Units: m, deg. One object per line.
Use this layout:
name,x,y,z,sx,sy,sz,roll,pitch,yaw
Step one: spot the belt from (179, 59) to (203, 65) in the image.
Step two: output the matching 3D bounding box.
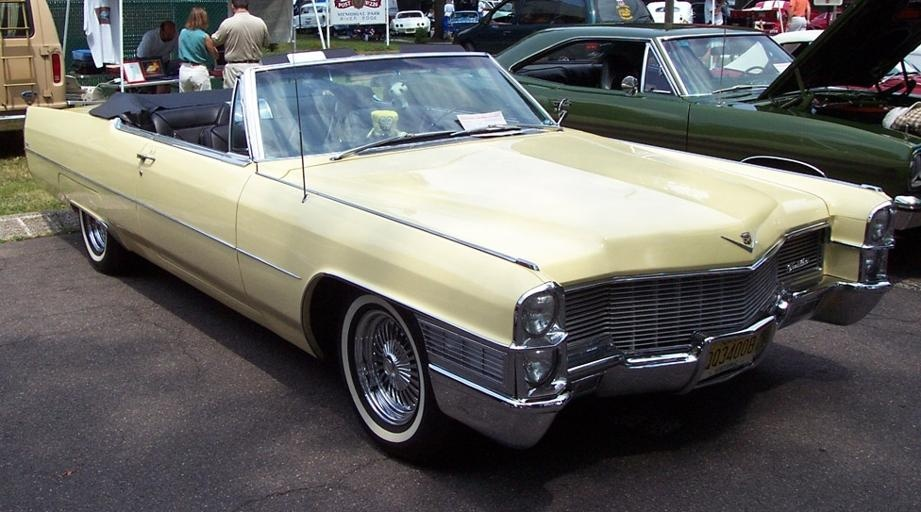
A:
belt,-5.006,-3.645,11.281,0.204,0.046,0.191,4,6,20
